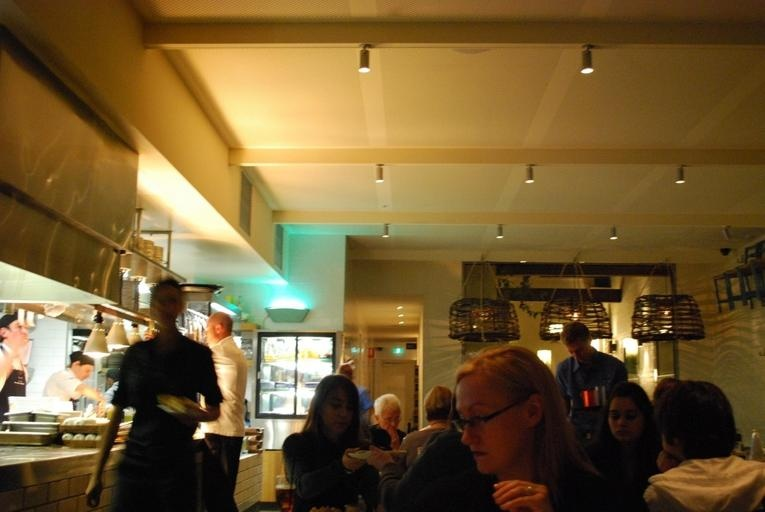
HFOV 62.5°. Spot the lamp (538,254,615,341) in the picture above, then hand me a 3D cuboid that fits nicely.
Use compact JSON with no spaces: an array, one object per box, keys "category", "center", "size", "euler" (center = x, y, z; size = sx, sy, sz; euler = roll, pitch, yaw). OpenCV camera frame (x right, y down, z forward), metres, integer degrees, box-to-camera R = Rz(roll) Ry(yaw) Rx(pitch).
[{"category":"lamp","center":[2.731,0.593,8.815],"size":[0.984,0.961,0.941],"euler":[-2,-2,10]}]

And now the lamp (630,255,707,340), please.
[{"category":"lamp","center":[3.821,0.791,8.341],"size":[0.862,0.800,0.824],"euler":[0,-35,12]}]

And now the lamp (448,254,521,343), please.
[{"category":"lamp","center":[1.359,0.597,8.352],"size":[0.970,1.164,0.817],"euler":[4,-20,-3]}]

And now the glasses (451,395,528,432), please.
[{"category":"glasses","center":[0.445,0.619,2.478],"size":[0.219,0.055,0.203],"euler":[-18,-12,-19]}]

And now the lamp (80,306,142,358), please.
[{"category":"lamp","center":[-2.816,0.778,6.548],"size":[0.257,0.384,0.670],"euler":[4,0,27]}]
